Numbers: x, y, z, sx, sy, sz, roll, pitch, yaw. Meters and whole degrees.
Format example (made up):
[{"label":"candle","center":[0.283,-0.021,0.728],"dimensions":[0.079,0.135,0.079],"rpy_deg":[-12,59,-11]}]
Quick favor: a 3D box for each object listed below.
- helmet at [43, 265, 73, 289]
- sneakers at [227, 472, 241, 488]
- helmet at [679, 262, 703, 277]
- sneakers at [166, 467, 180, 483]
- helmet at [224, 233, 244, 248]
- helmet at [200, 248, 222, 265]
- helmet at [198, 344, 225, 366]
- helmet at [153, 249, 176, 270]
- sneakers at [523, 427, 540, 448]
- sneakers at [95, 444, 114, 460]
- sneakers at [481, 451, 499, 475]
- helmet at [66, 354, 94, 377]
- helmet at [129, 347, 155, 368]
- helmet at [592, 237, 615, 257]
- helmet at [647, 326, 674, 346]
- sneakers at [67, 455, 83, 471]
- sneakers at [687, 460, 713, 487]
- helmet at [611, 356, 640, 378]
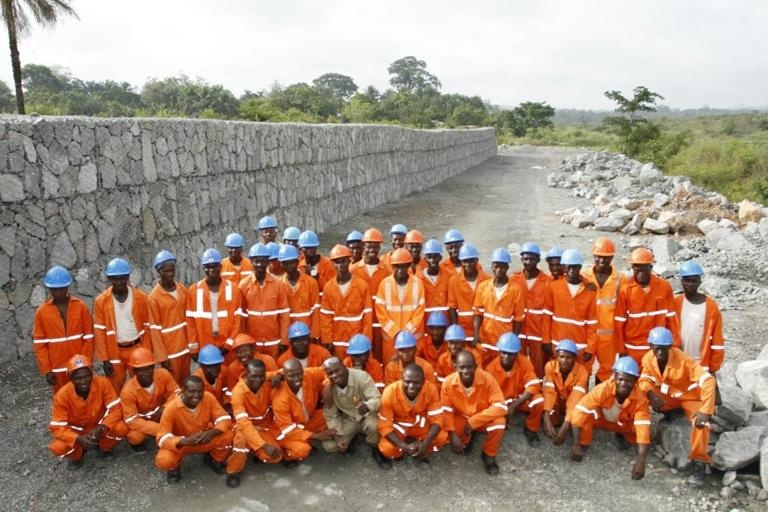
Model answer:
[{"label":"helmet","center":[-4.301,0.285,8.926],"dimensions":[0.384,0.190,0.294],"rpy_deg":[4,3,2]},{"label":"sneakers","center":[-1.845,2.748,8.281],"dimensions":[0.173,0.131,0.150],"rpy_deg":[-2,13,-12]},{"label":"helmet","center":[4.231,0.193,9.309],"dimensions":[0.258,0.171,0.352],"rpy_deg":[-6,-6,39]},{"label":"sneakers","center":[-2.586,2.694,8.302],"dimensions":[0.169,0.140,0.118],"rpy_deg":[-4,13,-17]},{"label":"helmet","center":[-2.277,-0.208,10.277],"dimensions":[0.279,0.167,0.328],"rpy_deg":[-2,24,-9]},{"label":"helmet","center":[-2.422,0.042,9.519],"dimensions":[0.277,0.178,0.328],"rpy_deg":[-7,19,-9]},{"label":"helmet","center":[-2.298,1.301,8.927],"dimensions":[0.298,0.251,0.296],"rpy_deg":[-3,13,-13]},{"label":"helmet","center":[-3.088,0.023,9.384],"dimensions":[0.315,0.214,0.369],"rpy_deg":[-13,-8,-37]},{"label":"sneakers","center":[1.957,2.401,8.963],"dimensions":[0.177,0.159,0.240],"rpy_deg":[-1,12,-6]},{"label":"sneakers","center":[-3.552,2.499,8.591],"dimensions":[0.245,0.116,0.240],"rpy_deg":[13,13,-14]},{"label":"sneakers","center":[1.334,2.630,8.548],"dimensions":[0.123,0.116,0.291],"rpy_deg":[-2,5,-8]},{"label":"helmet","center":[-3.886,1.366,8.619],"dimensions":[0.284,0.200,0.309],"rpy_deg":[-5,13,-22]},{"label":"helmet","center":[-3.128,1.324,8.738],"dimensions":[0.292,0.258,0.240],"rpy_deg":[0,13,-1]},{"label":"helmet","center":[3.153,-0.108,9.749],"dimensions":[0.408,0.256,0.515],"rpy_deg":[6,10,19]},{"label":"helmet","center":[3.671,1.078,8.994],"dimensions":[0.293,0.233,0.227],"rpy_deg":[5,14,21]},{"label":"sneakers","center":[-3.857,2.586,8.446],"dimensions":[0.181,0.117,0.158],"rpy_deg":[-6,14,-25]},{"label":"sneakers","center":[3.895,2.674,8.340],"dimensions":[0.390,0.252,0.178],"rpy_deg":[-5,14,-22]},{"label":"helmet","center":[3.138,1.444,8.789],"dimensions":[0.266,0.157,0.313],"rpy_deg":[16,-3,16]}]
